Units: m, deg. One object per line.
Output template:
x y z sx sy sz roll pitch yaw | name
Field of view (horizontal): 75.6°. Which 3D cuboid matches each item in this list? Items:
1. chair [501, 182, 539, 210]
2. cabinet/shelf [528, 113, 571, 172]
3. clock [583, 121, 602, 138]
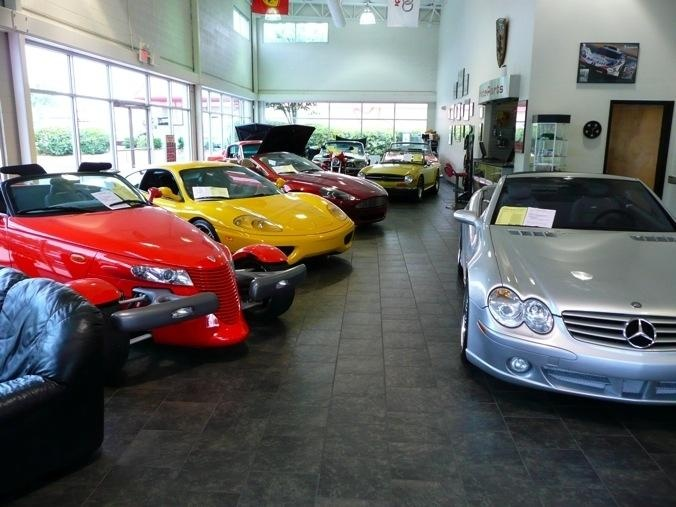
1.546 -0.496 3.758 0.214 0.110 0.294 7 24 14 | chair
3.975 -2.220 8.413 0.483 0.720 0.289 -12 -6 -22 | cabinet/shelf
4.791 -2.333 8.238 0.302 0.366 0.110 -5 19 -8 | clock
